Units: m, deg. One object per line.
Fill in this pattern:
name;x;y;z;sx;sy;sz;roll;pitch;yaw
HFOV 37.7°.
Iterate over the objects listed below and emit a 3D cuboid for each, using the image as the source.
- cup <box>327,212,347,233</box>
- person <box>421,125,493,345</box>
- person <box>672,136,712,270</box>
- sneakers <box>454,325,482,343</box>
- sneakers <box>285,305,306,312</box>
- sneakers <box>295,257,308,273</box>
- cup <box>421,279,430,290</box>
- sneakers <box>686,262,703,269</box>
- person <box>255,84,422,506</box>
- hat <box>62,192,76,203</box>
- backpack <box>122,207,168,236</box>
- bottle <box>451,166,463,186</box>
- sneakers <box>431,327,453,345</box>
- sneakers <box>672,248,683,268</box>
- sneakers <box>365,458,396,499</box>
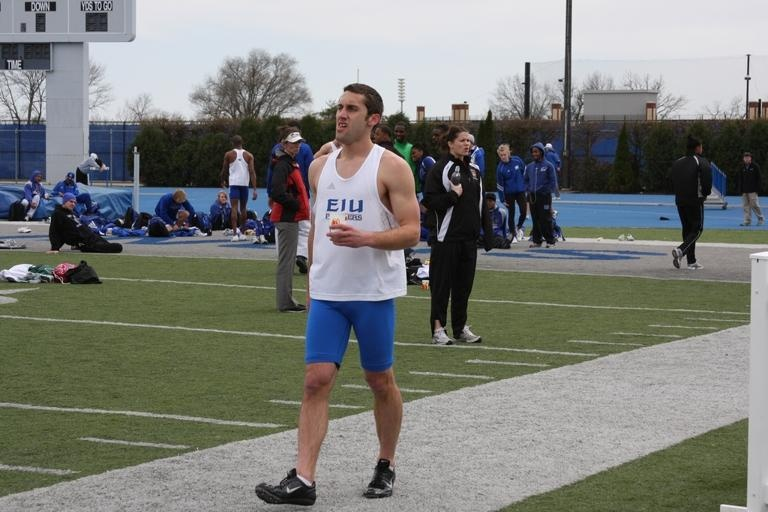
cup;-0.395;-0.295;9.443;0.142;0.250;0.182;1;3;23
person;0.863;-0.226;13.233;0.772;2.572;0.453;-6;14;-27
person;5.350;-0.930;19.811;0.661;2.294;1.156;3;13;14
sneakers;0.971;0.938;13.503;0.368;0.172;0.142;2;2;11
sneakers;-1.208;0.701;15.172;0.297;0.118;0.114;-6;4;6
sneakers;-1.349;0.129;18.298;0.163;0.173;0.432;-1;-28;13
cup;0.621;0.444;17.620;0.168;0.172;0.164;0;0;0
sneakers;5.461;0.157;19.892;0.229;0.094;0.117;-1;6;17
person;-0.314;0.278;9.369;1.082;3.348;1.283;3;12;10
hat;-5.957;-1.116;21.272;0.213;0.223;0.546;-4;13;-19
backpack;-5.593;-0.821;26.584;0.715;0.394;1.024;-1;0;-29
bottle;0.835;-0.946;13.033;0.104;0.202;0.219;8;14;31
sneakers;0.665;0.955;13.294;0.130;0.135;0.300;0;-5;-25
sneakers;5.113;0.026;19.698;0.116;0.335;0.155;8;36;43
sneakers;-0.047;1.847;9.365;0.279;0.267;0.223;-1;12;-6
